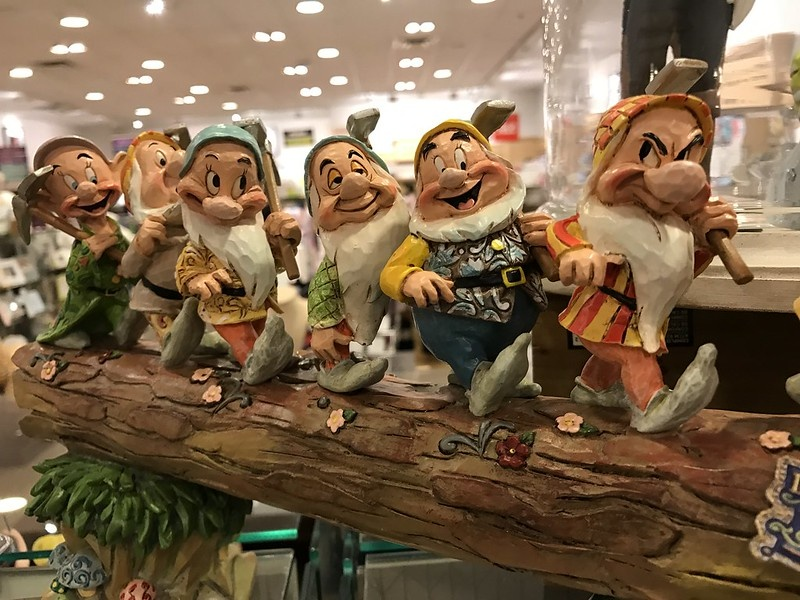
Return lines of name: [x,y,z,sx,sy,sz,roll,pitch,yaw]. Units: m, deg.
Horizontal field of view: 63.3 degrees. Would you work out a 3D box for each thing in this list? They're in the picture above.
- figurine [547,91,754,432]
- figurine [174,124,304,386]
figurine: [0.581,-0.090,1.568,0.416,0.789,0.249,0,7,28]
figurine: [-0.467,-0.129,1.860,0.363,0.735,0.250,-4,6,-8]
